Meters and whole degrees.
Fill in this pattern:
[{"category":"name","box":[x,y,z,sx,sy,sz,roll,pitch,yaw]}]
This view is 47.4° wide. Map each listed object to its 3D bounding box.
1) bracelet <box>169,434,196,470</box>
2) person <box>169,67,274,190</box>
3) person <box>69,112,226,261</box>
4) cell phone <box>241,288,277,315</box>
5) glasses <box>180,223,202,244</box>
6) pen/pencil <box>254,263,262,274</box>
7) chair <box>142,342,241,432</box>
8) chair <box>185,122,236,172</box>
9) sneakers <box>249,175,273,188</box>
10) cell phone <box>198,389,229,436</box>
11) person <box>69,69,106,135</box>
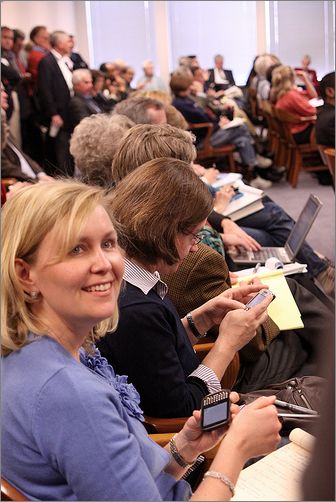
[{"category":"bracelet","box":[0.029,0.494,0.951,0.026,0.056,0.070,-41,39,7]},{"category":"person","box":[0.842,-1.971,6.048,1.417,1.855,0.916,4,38,21]},{"category":"person","box":[-0.094,-0.370,2.028,0.810,0.841,0.646,-4,16,1]},{"category":"cell phone","box":[0.351,0.196,1.476,0.079,0.022,0.080,-27,16,16]},{"category":"glasses","box":[0.081,-0.051,1.271,0.069,0.021,0.068,-10,9,11]},{"category":"pen/pencil","box":[0.479,0.088,2.056,0.022,0.026,0.097,-15,23,41]},{"category":"chair","box":[0.163,0.538,1.558,0.230,0.232,0.271,0,60,20]},{"category":"chair","box":[0.675,-1.699,6.180,0.684,1.114,0.674,-2,18,2]},{"category":"sneakers","box":[1.501,-1.143,6.193,0.364,0.233,0.169,2,30,12]},{"category":"cell phone","box":[0.109,0.362,0.857,0.074,0.017,0.098,-27,15,18]},{"category":"person","box":[-1.036,-2.005,5.121,0.438,0.815,0.562,-17,0,-14]}]
